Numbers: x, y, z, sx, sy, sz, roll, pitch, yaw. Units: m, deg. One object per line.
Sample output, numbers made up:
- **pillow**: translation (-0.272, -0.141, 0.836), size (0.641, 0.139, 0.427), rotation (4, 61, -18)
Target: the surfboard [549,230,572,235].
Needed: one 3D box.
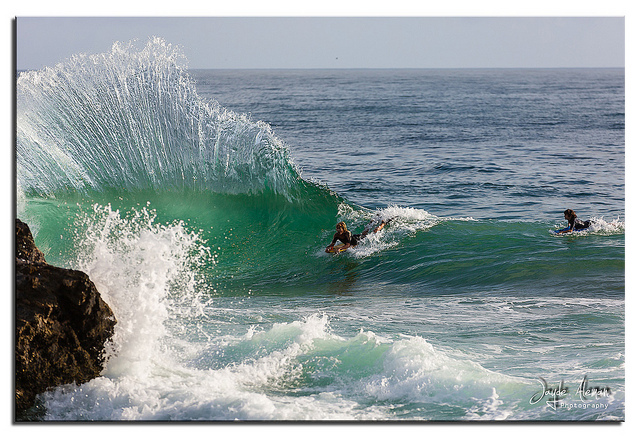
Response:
- **surfboard**: translation (6.310, 0.387, 22.634), size (0.347, 0.105, 0.704), rotation (-1, 1, -28)

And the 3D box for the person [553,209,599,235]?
- **person**: translation (6.752, 0.105, 22.690), size (1.127, 0.655, 0.681), rotation (-1, 1, 14)

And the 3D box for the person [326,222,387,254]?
- **person**: translation (0.899, 0.539, 22.716), size (1.552, 0.806, 0.486), rotation (-1, 1, -18)
